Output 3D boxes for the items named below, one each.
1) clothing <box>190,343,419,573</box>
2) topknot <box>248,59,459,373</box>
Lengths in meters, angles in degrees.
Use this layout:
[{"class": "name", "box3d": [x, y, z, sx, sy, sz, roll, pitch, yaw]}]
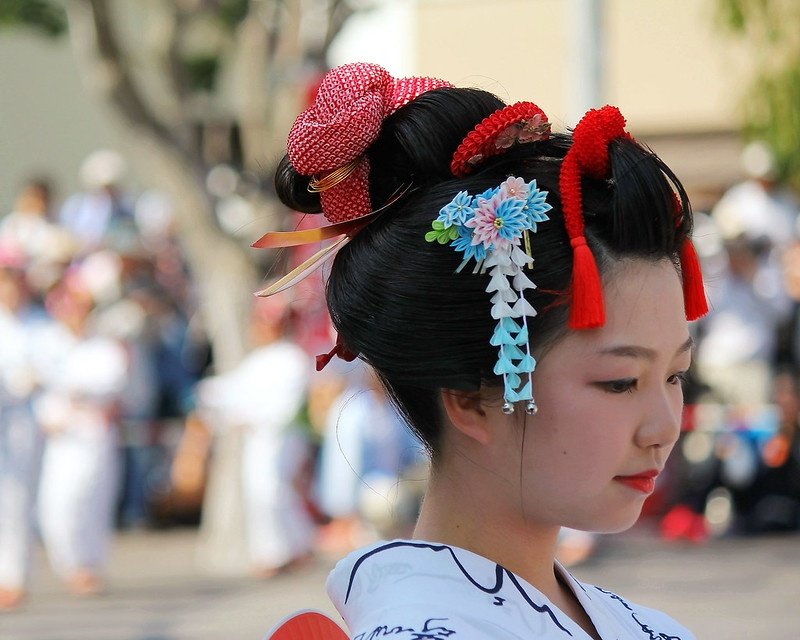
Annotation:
[{"class": "clothing", "box3d": [-0.542, 0.696, 8.287, 1.331, 0.526, 1.138, -5, 91, -5]}, {"class": "topknot", "box3d": [-0.172, -0.446, 5.853, 0.870, 0.447, 0.677, -52, 29, -13]}]
